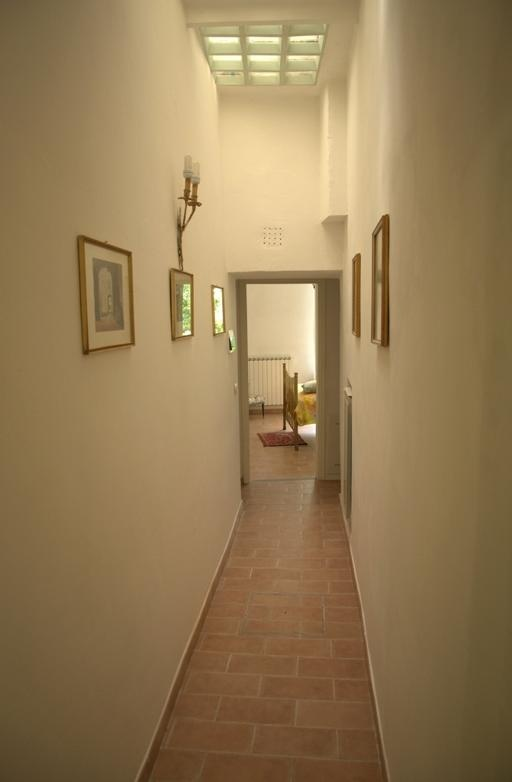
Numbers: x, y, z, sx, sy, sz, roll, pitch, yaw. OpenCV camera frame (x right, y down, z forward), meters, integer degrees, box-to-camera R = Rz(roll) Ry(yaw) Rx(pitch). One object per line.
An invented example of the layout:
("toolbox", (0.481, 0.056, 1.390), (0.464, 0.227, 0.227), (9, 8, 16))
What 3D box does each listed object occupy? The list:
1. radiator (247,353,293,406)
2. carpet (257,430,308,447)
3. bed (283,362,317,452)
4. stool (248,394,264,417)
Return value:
("radiator", (0.279, -0.310, 11.201), (0.628, 1.148, 0.098), (0, 2, -5))
("carpet", (0.376, 0.759, 9.322), (0.635, 0.236, 1.278), (-1, 6, -6))
("bed", (0.795, 0.260, 9.654), (0.549, 1.032, 1.134), (-1, 2, -5))
("stool", (0.014, 0.284, 11.475), (0.308, 0.488, 0.519), (0, 5, 4))
